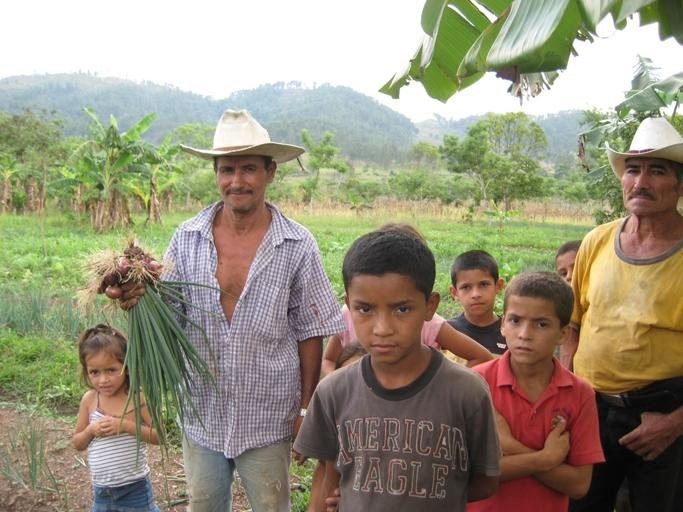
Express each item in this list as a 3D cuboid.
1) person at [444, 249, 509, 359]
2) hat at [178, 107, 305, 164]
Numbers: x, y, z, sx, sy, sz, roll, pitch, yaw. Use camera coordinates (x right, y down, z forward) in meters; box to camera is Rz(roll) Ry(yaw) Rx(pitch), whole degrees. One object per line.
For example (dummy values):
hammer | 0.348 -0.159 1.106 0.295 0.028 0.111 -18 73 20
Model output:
person | 0.992 0.316 4.708 0.338 0.821 0.372 3 3 -6
hat | -0.596 -0.721 4.177 0.452 0.187 0.496 -3 -5 8
